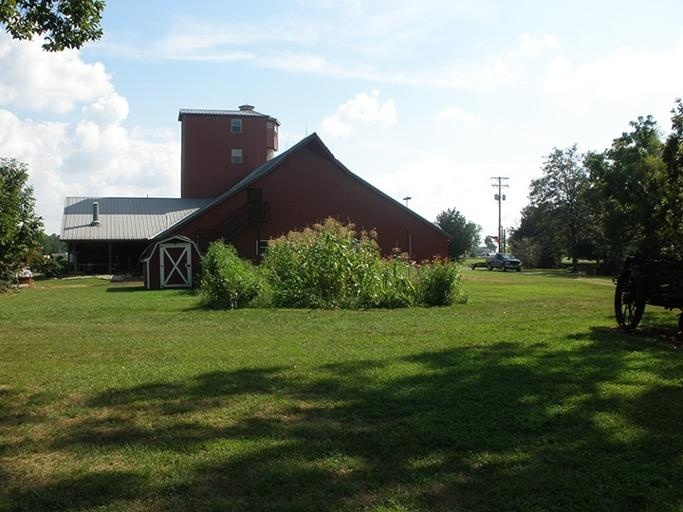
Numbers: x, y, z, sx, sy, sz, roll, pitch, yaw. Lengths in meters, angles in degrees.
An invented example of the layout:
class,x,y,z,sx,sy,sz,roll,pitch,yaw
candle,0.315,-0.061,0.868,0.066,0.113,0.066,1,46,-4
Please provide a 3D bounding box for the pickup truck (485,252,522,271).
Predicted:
class,x,y,z,sx,sy,sz,roll,pitch,yaw
pickup truck,13.235,0.595,54.961,1.374,1.131,2.995,0,-1,-18
